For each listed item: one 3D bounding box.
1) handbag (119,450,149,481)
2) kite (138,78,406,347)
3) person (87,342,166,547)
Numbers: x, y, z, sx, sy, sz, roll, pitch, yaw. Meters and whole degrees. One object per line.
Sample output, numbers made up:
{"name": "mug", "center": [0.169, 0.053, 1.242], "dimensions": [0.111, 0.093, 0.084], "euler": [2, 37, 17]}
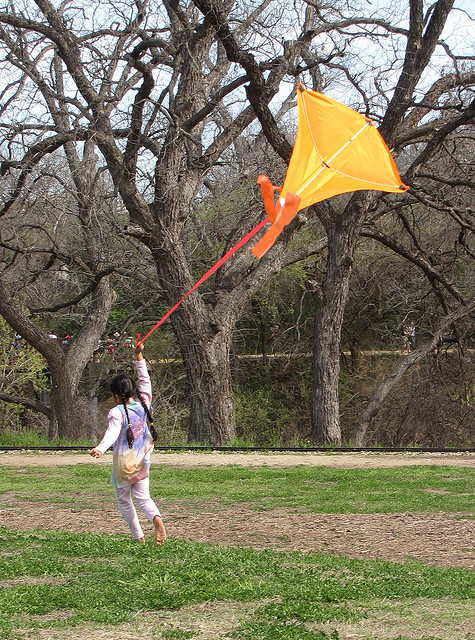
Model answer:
{"name": "handbag", "center": [-0.849, 1.208, 7.283], "dimensions": [0.223, 0.238, 0.114], "euler": [-2, -1, -14]}
{"name": "kite", "center": [0.331, -1.141, 9.612], "dimensions": [1.270, 2.876, 1.102], "euler": [44, -3, 46]}
{"name": "person", "center": [-0.877, 1.050, 7.316], "dimensions": [0.484, 1.685, 0.846], "euler": [-3, -7, -5]}
